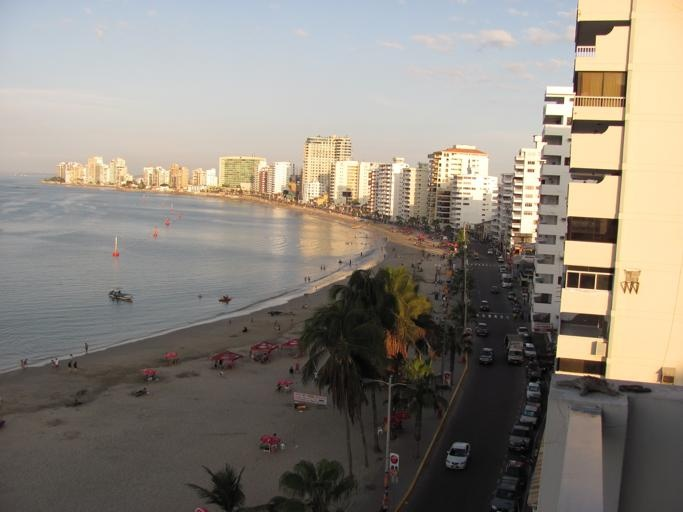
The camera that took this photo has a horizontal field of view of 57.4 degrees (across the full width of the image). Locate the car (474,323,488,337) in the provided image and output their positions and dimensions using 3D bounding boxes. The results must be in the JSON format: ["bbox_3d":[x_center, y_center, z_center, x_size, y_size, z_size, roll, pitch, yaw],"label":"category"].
[{"bbox_3d":[15.776,8.457,70.527,1.033,0.837,2.343,1,4,12],"label":"car"}]

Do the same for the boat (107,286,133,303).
[{"bbox_3d":[-35.364,6.560,100.659,2.127,1.676,5.603,-1,5,-5],"label":"boat"}]

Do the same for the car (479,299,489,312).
[{"bbox_3d":[19.483,6.857,85.487,1.125,1.010,2.572,-1,0,11],"label":"car"}]

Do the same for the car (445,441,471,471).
[{"bbox_3d":[7.281,12.428,38.689,0.855,0.628,1.926,-1,8,18],"label":"car"}]

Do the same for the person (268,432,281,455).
[{"bbox_3d":[-4.511,12.768,42.323,0.824,0.735,1.070,2,7,-7],"label":"person"}]
